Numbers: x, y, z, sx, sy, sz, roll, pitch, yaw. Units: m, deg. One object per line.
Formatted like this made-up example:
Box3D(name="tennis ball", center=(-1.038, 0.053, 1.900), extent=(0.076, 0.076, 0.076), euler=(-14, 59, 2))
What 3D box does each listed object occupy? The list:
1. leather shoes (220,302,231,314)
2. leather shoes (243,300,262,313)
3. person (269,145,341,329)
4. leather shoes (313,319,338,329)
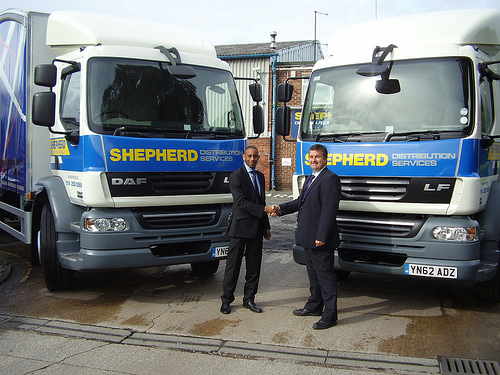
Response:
Box3D(name="leather shoes", center=(-0.354, 1.773, 5.840), extent=(0.115, 0.121, 0.309), euler=(1, -9, -4))
Box3D(name="leather shoes", center=(0.039, 1.781, 5.957), extent=(0.114, 0.122, 0.314), euler=(7, -6, -44))
Box3D(name="person", center=(0.926, 0.630, 5.569), extent=(0.521, 2.465, 0.830), euler=(-1, 4, -16))
Box3D(name="leather shoes", center=(0.969, 1.805, 5.330), extent=(0.344, 0.164, 0.124), euler=(4, 3, -11))
